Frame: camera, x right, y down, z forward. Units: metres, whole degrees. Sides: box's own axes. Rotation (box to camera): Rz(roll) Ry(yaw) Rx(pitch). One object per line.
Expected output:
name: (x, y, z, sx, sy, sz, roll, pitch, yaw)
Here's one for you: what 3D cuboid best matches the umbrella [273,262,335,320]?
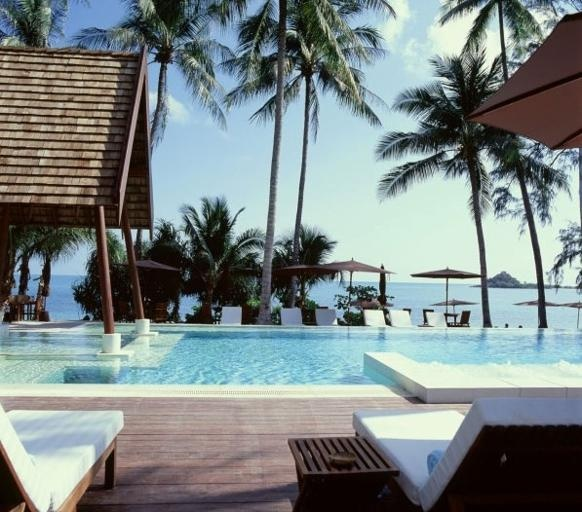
umbrella: (0.347, 1.119, 16.267, 1.646, 1.716, 1.823, 2, -10, -8)
